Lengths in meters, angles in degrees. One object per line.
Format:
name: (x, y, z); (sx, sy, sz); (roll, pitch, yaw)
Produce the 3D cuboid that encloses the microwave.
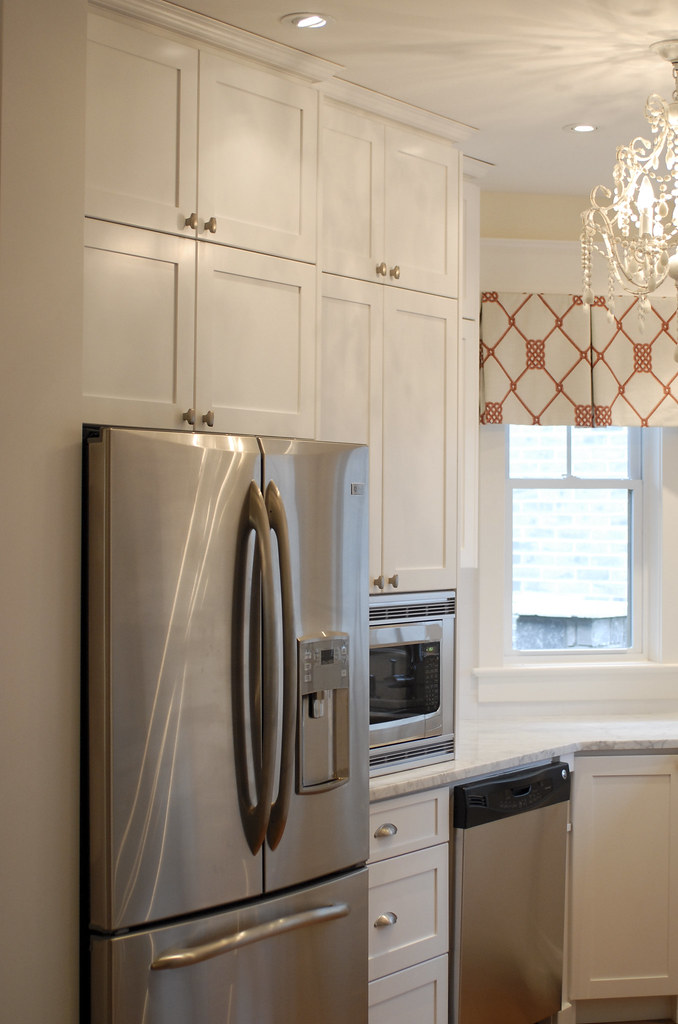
microwave: (0.193, 0.478, 2.323); (0.154, 0.551, 0.403); (-4, -5, 37)
